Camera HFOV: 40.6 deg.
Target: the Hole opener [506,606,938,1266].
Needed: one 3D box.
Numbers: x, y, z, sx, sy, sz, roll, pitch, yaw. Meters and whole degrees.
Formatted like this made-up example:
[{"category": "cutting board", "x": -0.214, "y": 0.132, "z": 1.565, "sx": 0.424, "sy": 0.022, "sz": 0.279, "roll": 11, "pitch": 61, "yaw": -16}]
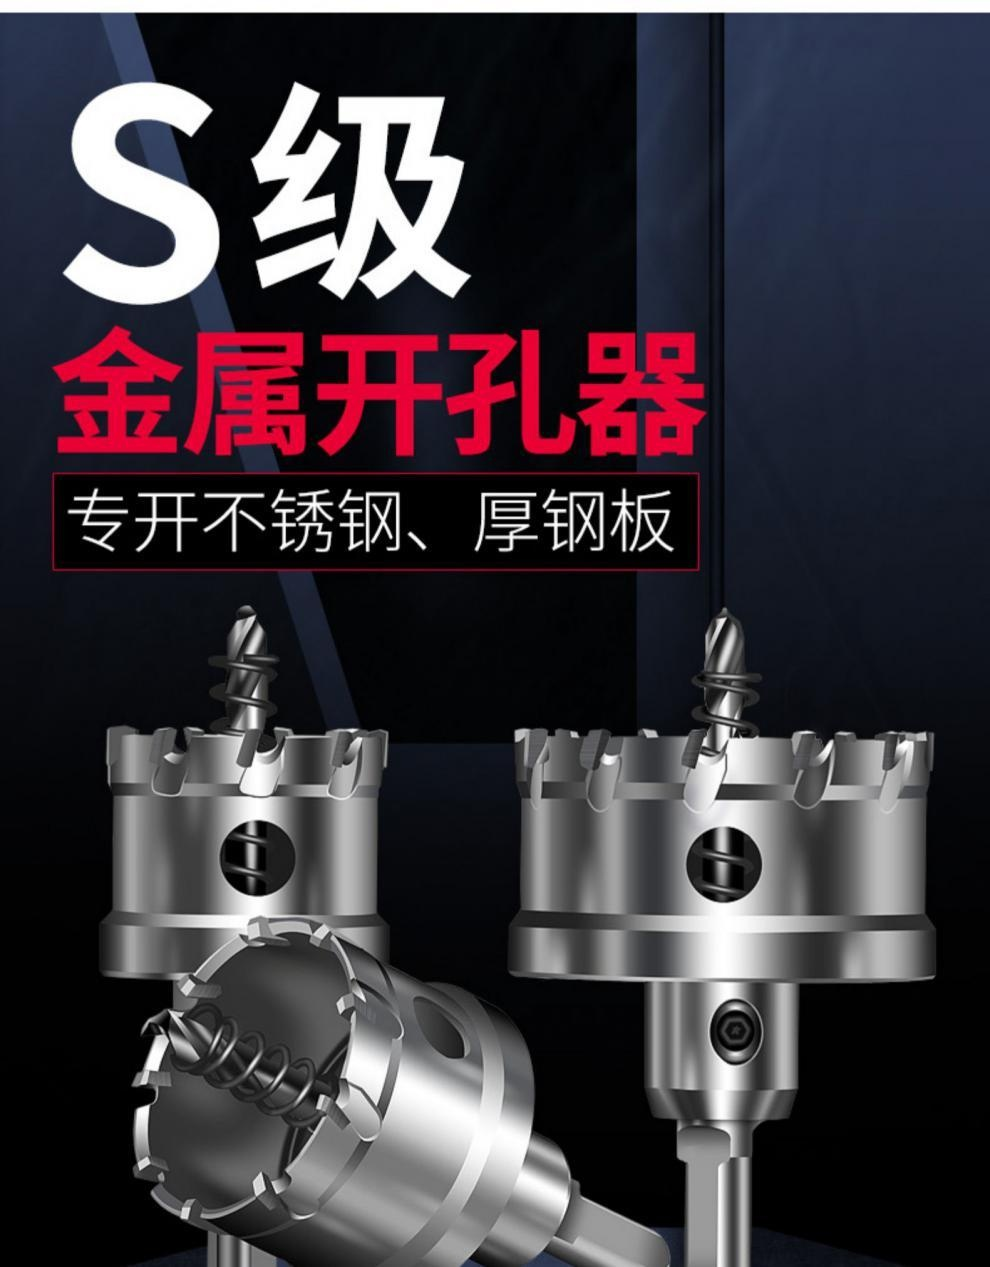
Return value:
[{"category": "Hole opener", "x": 0.169, "y": 0.206, "z": 1.008, "sx": 0.291, "sy": 0.438, "sz": 0.237, "roll": 3, "pitch": 1, "yaw": 9}]
